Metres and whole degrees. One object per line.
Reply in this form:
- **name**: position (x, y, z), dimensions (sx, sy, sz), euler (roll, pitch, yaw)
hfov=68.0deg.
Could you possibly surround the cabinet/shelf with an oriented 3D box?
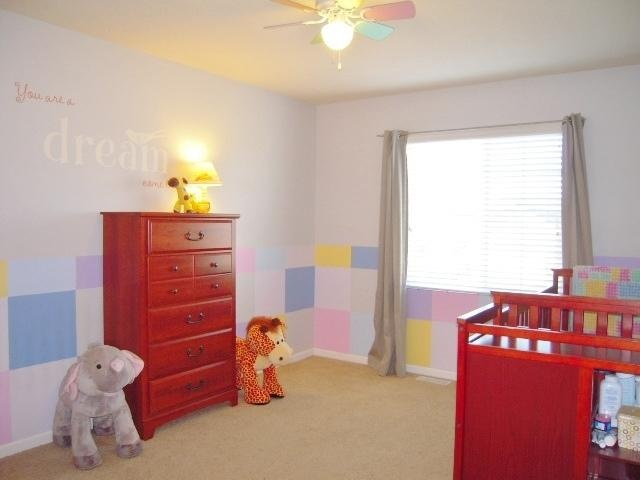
- **cabinet/shelf**: position (-1.126, 0.624, 3.890), dimensions (0.980, 1.713, 0.337), euler (-5, 8, -41)

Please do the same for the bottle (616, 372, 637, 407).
- **bottle**: position (1.676, 0.812, 2.581), dimensions (0.102, 0.171, 0.043), euler (2, 6, 10)

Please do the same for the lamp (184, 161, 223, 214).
- **lamp**: position (-1.054, -0.477, 4.339), dimensions (0.286, 0.492, 0.288), euler (1, 1, -32)

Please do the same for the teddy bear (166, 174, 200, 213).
- **teddy bear**: position (-1.198, -0.378, 4.147), dimensions (0.193, 0.307, 0.291), euler (-6, -6, 38)

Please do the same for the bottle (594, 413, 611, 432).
- **bottle**: position (1.530, 0.979, 2.576), dimensions (0.094, 0.110, 0.066), euler (-4, -3, 38)

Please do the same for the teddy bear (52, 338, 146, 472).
- **teddy bear**: position (-1.628, 1.154, 3.388), dimensions (0.665, 0.787, 0.365), euler (2, 6, 13)

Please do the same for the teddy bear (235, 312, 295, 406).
- **teddy bear**: position (-0.612, 1.065, 4.447), dimensions (0.713, 0.782, 0.428), euler (7, 5, 39)

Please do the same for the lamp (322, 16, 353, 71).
- **lamp**: position (0.104, -1.279, 2.923), dimensions (0.205, 0.177, 0.200), euler (1, 6, 0)
